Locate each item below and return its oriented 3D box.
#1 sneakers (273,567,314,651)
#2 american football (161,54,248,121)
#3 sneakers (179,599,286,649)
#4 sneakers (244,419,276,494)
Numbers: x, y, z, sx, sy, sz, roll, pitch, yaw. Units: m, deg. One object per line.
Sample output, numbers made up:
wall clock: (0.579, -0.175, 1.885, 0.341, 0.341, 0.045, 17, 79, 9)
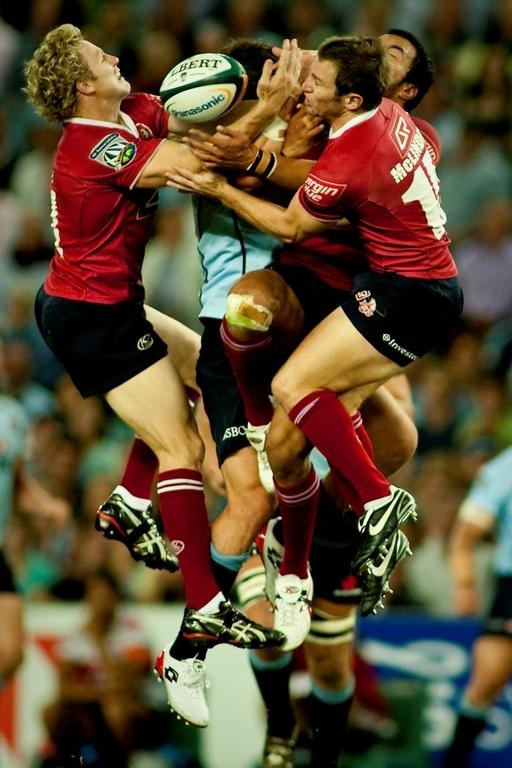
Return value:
sneakers: (0.154, 0.890, 3.005, 0.126, 0.152, 0.328, -2, 75, 8)
american football: (-0.186, -1.061, 2.663, 0.251, 0.293, 0.164, -2, 77, -11)
sneakers: (-0.078, 0.868, 2.742, 0.372, 0.142, 0.156, 4, 79, 3)
sneakers: (0.017, 0.283, 2.925, 0.101, 0.202, 0.273, -16, 86, 2)
